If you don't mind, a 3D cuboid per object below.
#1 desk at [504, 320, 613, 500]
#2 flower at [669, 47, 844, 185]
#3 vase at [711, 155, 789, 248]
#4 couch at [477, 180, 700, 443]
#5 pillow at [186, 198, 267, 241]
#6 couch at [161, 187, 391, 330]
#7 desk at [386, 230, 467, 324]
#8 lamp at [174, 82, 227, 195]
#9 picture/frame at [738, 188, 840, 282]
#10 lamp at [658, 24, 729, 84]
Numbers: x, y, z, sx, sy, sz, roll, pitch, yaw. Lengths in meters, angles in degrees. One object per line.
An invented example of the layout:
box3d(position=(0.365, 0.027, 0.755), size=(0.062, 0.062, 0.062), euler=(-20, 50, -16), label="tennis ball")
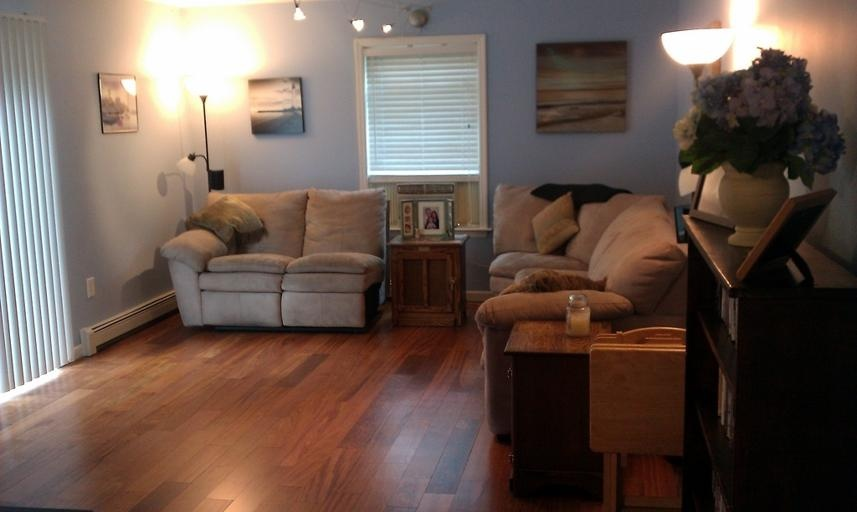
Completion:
box3d(position=(0.672, 0.850, 4.020), size=(0.817, 1.064, 0.905), euler=(-1, 5, 5), label="desk")
box3d(position=(1.339, -0.474, 2.594), size=(0.559, 0.467, 0.571), euler=(4, -14, 36), label="flower")
box3d(position=(1.249, -0.215, 2.577), size=(0.279, 0.316, 0.278), euler=(0, 9, -44), label="vase")
box3d(position=(0.959, 0.325, 3.857), size=(0.806, 0.693, 1.849), euler=(0, 8, 10), label="couch")
box3d(position=(-1.930, -0.355, 6.130), size=(0.495, 0.156, 0.481), euler=(24, 36, 13), label="pillow")
box3d(position=(-1.432, -0.001, 6.206), size=(2.024, 1.106, 1.105), euler=(0, 15, 3), label="couch")
box3d(position=(0.089, 0.243, 6.086), size=(0.755, 0.751, 0.564), euler=(0, 1, 22), label="desk")
box3d(position=(-2.320, -1.279, 6.692), size=(0.437, 1.183, 0.558), euler=(-5, 15, -12), label="lamp")
box3d(position=(1.259, -0.080, 2.255), size=(0.420, 0.267, 0.228), euler=(-12, 5, -41), label="picture/frame")
box3d(position=(1.681, -1.183, 4.027), size=(0.429, 0.420, 0.404), euler=(0, 13, 16), label="lamp")
